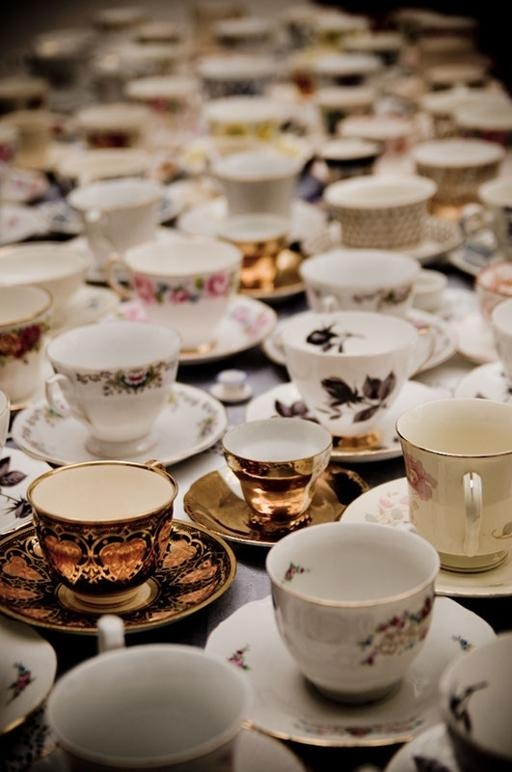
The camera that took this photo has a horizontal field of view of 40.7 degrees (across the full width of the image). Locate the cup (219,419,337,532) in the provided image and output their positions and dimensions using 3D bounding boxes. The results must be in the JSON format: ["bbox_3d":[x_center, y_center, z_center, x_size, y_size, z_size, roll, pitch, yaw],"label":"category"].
[{"bbox_3d":[0.013,0.049,0.413,0.074,0.054,0.065,-9,29,-6],"label":"cup"}]

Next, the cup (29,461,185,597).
[{"bbox_3d":[-0.085,0.074,0.372,0.072,0.049,0.102,9,13,10],"label":"cup"}]

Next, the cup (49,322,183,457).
[{"bbox_3d":[-0.109,0.014,0.507,0.102,0.067,0.089,-12,14,-41],"label":"cup"}]

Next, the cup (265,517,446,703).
[{"bbox_3d":[0.043,0.102,0.302,0.079,0.051,0.077,-3,7,0],"label":"cup"}]

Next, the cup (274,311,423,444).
[{"bbox_3d":[0.075,0.009,0.523,0.098,0.061,0.077,-6,4,-42],"label":"cup"}]
